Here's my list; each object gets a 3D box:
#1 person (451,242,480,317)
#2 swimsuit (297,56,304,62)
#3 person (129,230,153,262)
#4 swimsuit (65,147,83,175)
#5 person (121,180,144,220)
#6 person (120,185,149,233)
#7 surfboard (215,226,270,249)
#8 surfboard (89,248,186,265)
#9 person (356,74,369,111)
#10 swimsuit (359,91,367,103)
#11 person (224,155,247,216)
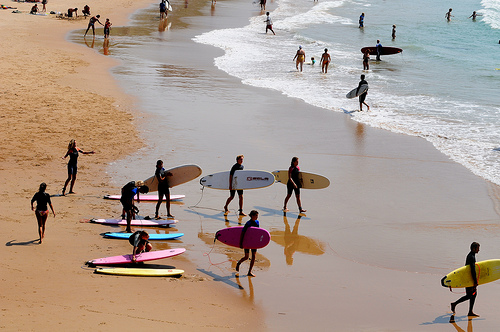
[{"bbox_3d":[8.589,4.328,34.365,1.335,2.591,1.200,0,-1,16],"label":"person"},{"bbox_3d":[2.873,-6.144,50.178,0.337,0.270,0.071,1,12,-13],"label":"swimsuit"},{"bbox_3d":[-4.362,3.173,34.648,0.704,1.017,0.723,9,35,-22],"label":"person"},{"bbox_3d":[-7.439,-0.220,36.800,0.631,1.102,0.514,4,16,-2],"label":"swimsuit"},{"bbox_3d":[-4.796,1.355,35.828,0.926,1.597,0.928,4,-4,-10],"label":"person"},{"bbox_3d":[-4.802,1.684,35.709,0.715,1.807,1.001,14,18,29],"label":"person"},{"bbox_3d":[-0.275,2.765,34.682,2.082,0.983,0.577,10,16,23],"label":"surfboard"},{"bbox_3d":[-4.627,3.538,34.586,2.740,0.279,0.473,-4,47,-10],"label":"surfboard"},{"bbox_3d":[5.852,-3.799,44.966,0.717,1.811,1.181,6,15,5],"label":"person"},{"bbox_3d":[5.745,-3.512,44.574,0.238,0.639,0.200,21,12,12],"label":"swimsuit"},{"bbox_3d":[-0.578,0.736,36.947,0.896,2.444,1.070,4,16,-1],"label":"person"}]
